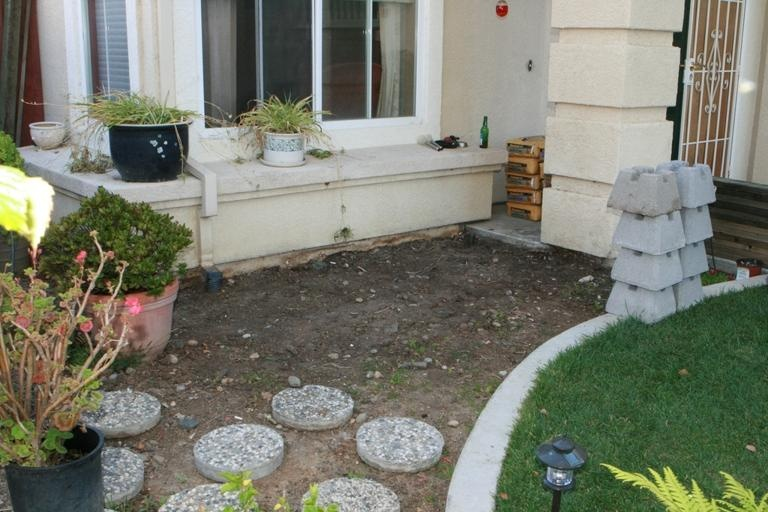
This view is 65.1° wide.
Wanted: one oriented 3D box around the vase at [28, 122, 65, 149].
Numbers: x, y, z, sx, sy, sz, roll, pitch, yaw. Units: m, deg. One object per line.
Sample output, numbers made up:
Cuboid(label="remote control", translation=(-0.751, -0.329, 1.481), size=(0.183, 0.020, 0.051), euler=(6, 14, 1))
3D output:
Cuboid(label="vase", translation=(-3.642, -1.332, 6.595), size=(0.332, 0.229, 0.330), euler=(-1, 19, -13))

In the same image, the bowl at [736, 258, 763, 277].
Cuboid(label="bowl", translation=(3.484, 0.093, 5.774), size=(0.195, 0.136, 0.189), euler=(-3, 15, 1))

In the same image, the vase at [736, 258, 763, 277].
Cuboid(label="vase", translation=(3.483, 0.099, 5.770), size=(0.192, 0.133, 0.186), euler=(-4, 15, -4))

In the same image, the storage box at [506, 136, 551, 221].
Cuboid(label="storage box", translation=(1.724, -0.932, 7.410), size=(0.472, 0.958, 0.313), euler=(4, 19, 10))

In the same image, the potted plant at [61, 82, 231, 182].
Cuboid(label="potted plant", translation=(-2.238, -1.083, 5.671), size=(1.067, 0.648, 1.168), euler=(13, 20, 40))

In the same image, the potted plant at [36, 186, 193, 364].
Cuboid(label="potted plant", translation=(-1.851, 0.016, 4.800), size=(1.507, 1.450, 1.147), euler=(0, 8, -16))

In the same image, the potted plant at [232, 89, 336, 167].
Cuboid(label="potted plant", translation=(-1.079, -1.343, 6.385), size=(0.773, 0.668, 0.853), euler=(8, 20, 21))

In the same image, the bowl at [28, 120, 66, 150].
Cuboid(label="bowl", translation=(-3.652, -1.298, 6.577), size=(0.338, 0.232, 0.336), euler=(3, 18, -1))
